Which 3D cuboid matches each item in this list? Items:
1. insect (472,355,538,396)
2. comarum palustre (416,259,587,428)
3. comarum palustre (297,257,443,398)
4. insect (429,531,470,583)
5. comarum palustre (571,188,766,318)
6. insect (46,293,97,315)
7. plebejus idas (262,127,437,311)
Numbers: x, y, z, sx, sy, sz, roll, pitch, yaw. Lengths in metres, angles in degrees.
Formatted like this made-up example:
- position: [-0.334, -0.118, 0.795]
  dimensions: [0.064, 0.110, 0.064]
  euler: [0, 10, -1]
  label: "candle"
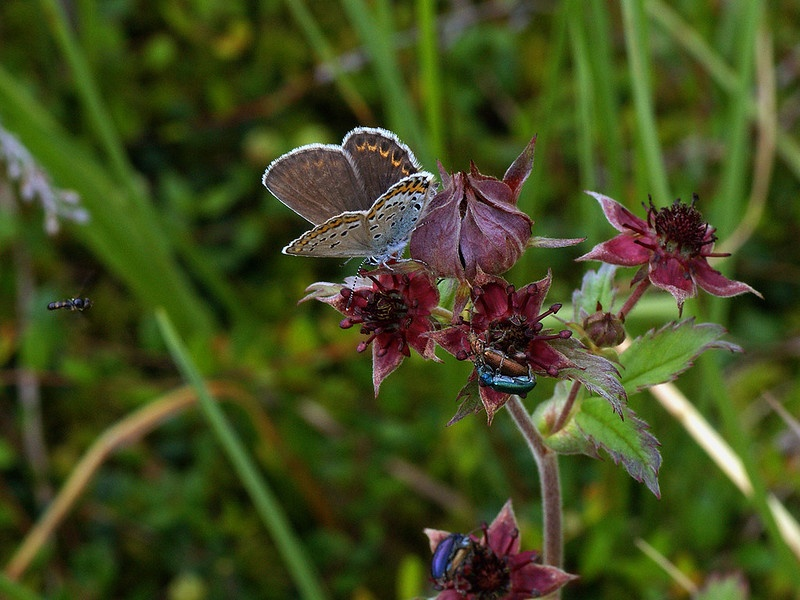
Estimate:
- position: [0.456, 0.353, 3.762]
  dimensions: [0.259, 0.150, 0.127]
  euler: [-2, 51, 22]
  label: "insect"
- position: [0.445, 0.153, 3.871]
  dimensions: [0.630, 0.344, 0.418]
  euler: [-17, 47, 11]
  label: "comarum palustre"
- position: [-0.124, 0.026, 4.164]
  dimensions: [0.489, 0.735, 0.749]
  euler: [-3, 18, -2]
  label: "comarum palustre"
- position: [0.222, 1.174, 3.926]
  dimensions: [0.211, 0.060, 0.175]
  euler: [-53, 28, 5]
  label: "insect"
- position: [1.202, -0.237, 4.137]
  dimensions: [0.616, 0.769, 0.915]
  euler: [8, 16, 41]
  label: "comarum palustre"
- position: [-2.045, 0.037, 5.326]
  dimensions: [0.232, 0.082, 0.174]
  euler: [2, 69, 7]
  label: "insect"
- position: [-0.175, -0.390, 4.034]
  dimensions: [0.767, 0.697, 0.494]
  euler: [-24, 46, 3]
  label: "plebejus idas"
